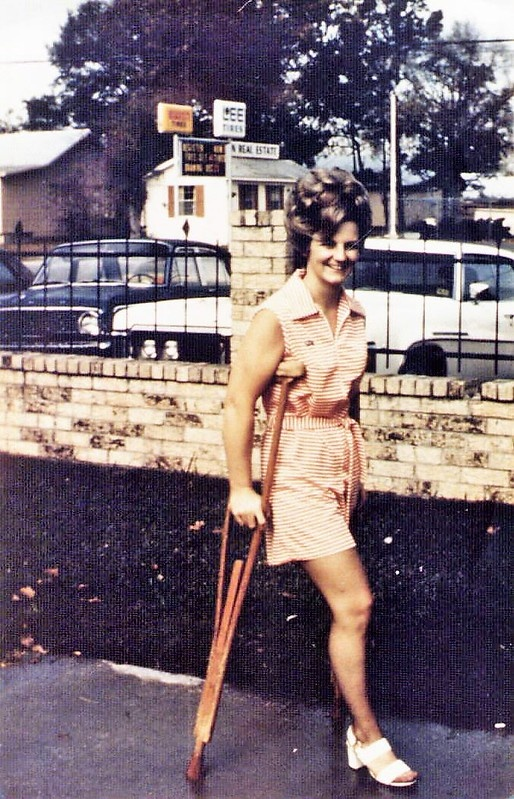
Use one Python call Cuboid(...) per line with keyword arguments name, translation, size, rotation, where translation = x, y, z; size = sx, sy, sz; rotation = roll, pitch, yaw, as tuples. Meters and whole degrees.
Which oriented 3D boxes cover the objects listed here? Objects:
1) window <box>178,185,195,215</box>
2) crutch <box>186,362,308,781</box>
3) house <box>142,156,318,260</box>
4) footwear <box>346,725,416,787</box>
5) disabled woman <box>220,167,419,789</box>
Cuboid(name="window", translation=(-1.371, -3.956, 25.141), size=(0.085, 0.696, 0.607), rotation=(-6, 9, -35))
Cuboid(name="crutch", translation=(-0.036, 0.506, 3.976), size=(0.277, 1.370, 0.060), rotation=(12, -5, -20))
Cuboid(name="house", translation=(-0.711, -4.184, 25.415), size=(2.031, 1.560, 3.441), rotation=(4, 14, 24))
Cuboid(name="footwear", translation=(0.375, 1.117, 4.035), size=(0.112, 0.123, 0.241), rotation=(-8, 7, -43))
Cuboid(name="disabled woman", translation=(0.170, 0.245, 3.978), size=(0.570, 1.897, 0.476), rotation=(-3, 9, -12))
